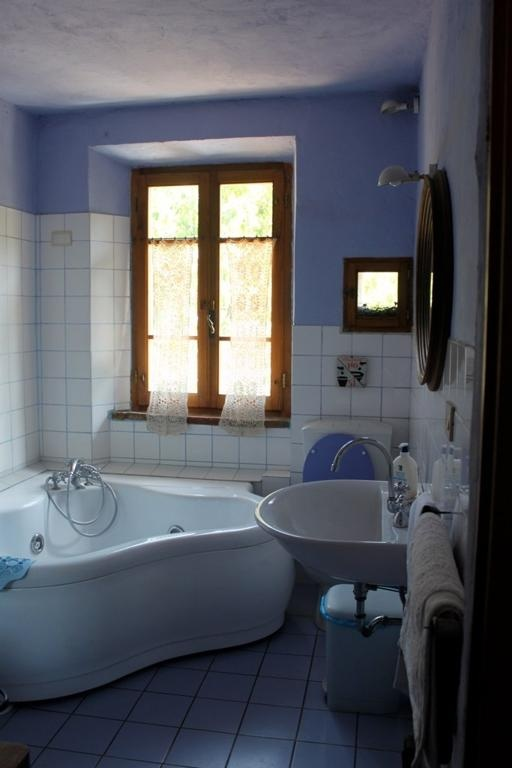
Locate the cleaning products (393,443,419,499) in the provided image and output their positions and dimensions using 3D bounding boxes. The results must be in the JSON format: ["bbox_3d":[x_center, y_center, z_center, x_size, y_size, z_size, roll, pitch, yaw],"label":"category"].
[{"bbox_3d":[0.514,0.306,2.038,0.088,0.173,0.095,-13,-17,9],"label":"cleaning products"}]

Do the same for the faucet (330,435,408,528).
[{"bbox_3d":[0.366,0.290,1.898,0.242,0.227,0.332,1,5,15],"label":"faucet"}]

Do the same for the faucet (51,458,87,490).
[{"bbox_3d":[-0.996,0.478,3.192,0.163,0.102,0.142,-2,6,-11],"label":"faucet"}]
